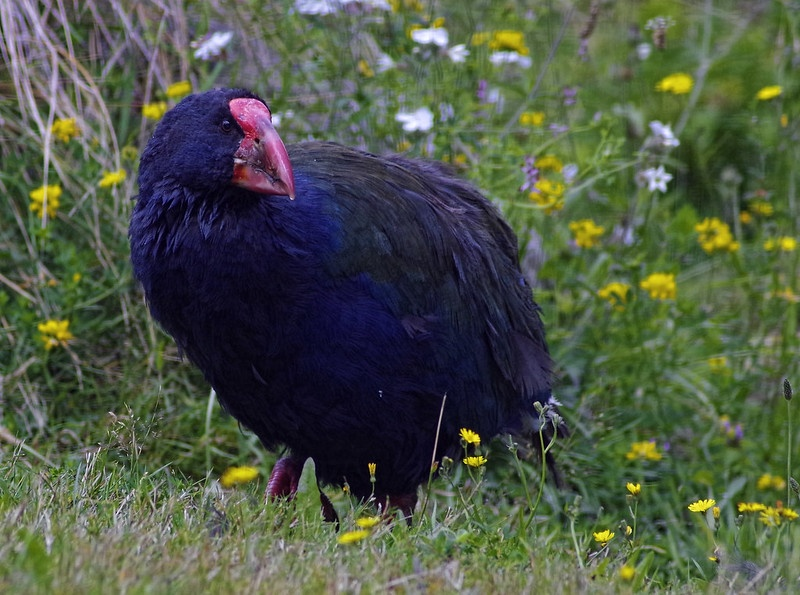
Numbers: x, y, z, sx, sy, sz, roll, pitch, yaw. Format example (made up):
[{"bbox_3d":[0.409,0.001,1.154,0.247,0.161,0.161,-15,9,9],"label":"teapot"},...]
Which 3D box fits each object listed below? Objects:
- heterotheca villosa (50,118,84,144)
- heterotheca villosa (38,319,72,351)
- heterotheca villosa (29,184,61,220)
[{"bbox_3d":[-1.533,-0.776,4.833,0.118,0.121,0.039,37,7,31],"label":"heterotheca villosa"},{"bbox_3d":[-1.556,0.164,4.699,0.174,0.148,0.090,23,29,22],"label":"heterotheca villosa"},{"bbox_3d":[-1.648,-0.444,4.789,0.073,0.169,0.164,6,15,15],"label":"heterotheca villosa"}]
